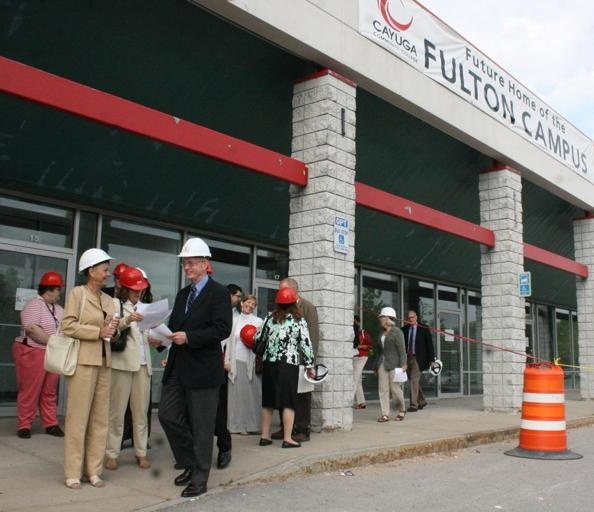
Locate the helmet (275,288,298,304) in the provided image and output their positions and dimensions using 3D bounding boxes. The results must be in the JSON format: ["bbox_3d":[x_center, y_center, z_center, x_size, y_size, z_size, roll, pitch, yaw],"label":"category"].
[{"bbox_3d":[-0.124,0.509,7.937,0.254,0.179,0.325,1,0,-1],"label":"helmet"}]

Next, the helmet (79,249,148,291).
[{"bbox_3d":[-1.866,0.134,6.160,0.445,0.265,0.336,-4,6,8],"label":"helmet"}]

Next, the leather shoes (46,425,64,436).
[{"bbox_3d":[-3.217,2.324,8.292,0.291,0.127,0.104,-6,-9,35],"label":"leather shoes"}]

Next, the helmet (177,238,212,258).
[{"bbox_3d":[-0.982,-0.104,6.226,0.213,0.166,0.284,1,-5,14],"label":"helmet"}]

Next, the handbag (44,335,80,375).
[{"bbox_3d":[-2.207,0.936,5.873,0.292,0.386,0.186,7,-14,-21],"label":"handbag"}]

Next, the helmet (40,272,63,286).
[{"bbox_3d":[-3.343,0.313,8.523,0.244,0.152,0.215,-3,2,5],"label":"helmet"}]

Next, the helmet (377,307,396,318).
[{"bbox_3d":[1.717,1.077,11.741,0.362,0.210,0.284,8,-2,1],"label":"helmet"}]
